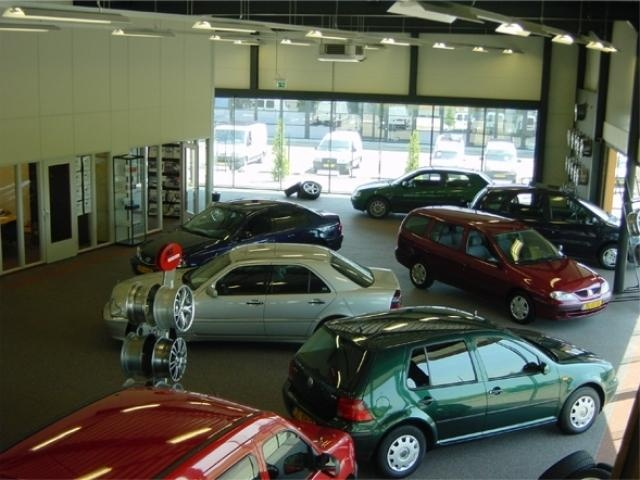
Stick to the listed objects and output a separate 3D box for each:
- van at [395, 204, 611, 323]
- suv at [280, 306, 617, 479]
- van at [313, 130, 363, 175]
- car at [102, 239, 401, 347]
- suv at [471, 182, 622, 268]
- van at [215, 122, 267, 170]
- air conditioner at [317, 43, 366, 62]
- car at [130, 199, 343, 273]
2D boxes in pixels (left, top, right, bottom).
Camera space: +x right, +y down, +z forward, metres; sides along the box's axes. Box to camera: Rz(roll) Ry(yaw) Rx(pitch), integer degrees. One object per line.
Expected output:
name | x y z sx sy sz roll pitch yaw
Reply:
van | 3.342 0.364 11.027 4.830 1.263 2.087 12 19 39
suv | 1.649 1.636 6.242 4.075 1.123 1.621 -8 23 -16
van | 0.869 -4.149 24.210 1.845 1.086 2.558 4 12 17
car | -0.817 0.883 8.802 5.198 1.173 1.800 1 11 -3
suv | 6.285 -0.572 14.033 4.178 1.351 1.824 3 10 12
van | -3.838 -4.521 24.707 2.153 1.251 2.757 1 3 14
air conditioner | 0.565 -5.031 13.711 1.149 0.447 0.779 5 10 5
car | -1.592 -0.189 11.807 4.967 1.189 1.888 -2 9 -23
